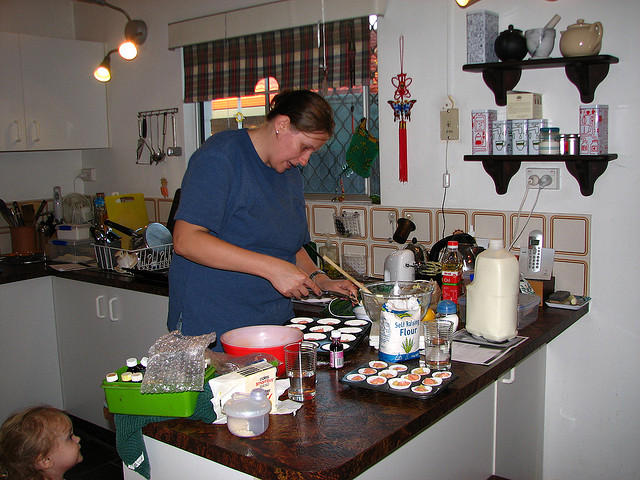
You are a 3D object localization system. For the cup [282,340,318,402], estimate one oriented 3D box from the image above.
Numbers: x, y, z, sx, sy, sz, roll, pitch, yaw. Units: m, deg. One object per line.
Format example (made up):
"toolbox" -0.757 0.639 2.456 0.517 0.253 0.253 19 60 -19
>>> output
"cup" -0.060 0.393 1.478 0.120 0.157 0.116 -5 -14 -1

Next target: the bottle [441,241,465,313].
"bottle" 0.574 0.190 2.163 0.115 0.345 0.108 -2 5 0

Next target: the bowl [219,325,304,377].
"bowl" -0.210 0.357 1.558 0.233 0.112 0.236 4 1 0

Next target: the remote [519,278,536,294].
"remote" 0.910 0.199 2.202 0.084 0.039 0.123 18 10 13

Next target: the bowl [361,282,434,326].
"bowl" 0.257 0.225 1.731 0.235 0.139 0.228 1 -8 0

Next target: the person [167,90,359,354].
"person" -0.222 -0.051 1.818 0.647 0.945 0.513 -2 5 -19

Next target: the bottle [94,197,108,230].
"bottle" -1.545 -0.184 3.526 0.078 0.219 0.177 -3 5 -25

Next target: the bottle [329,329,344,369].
"bottle" 0.054 0.355 1.643 0.048 0.120 0.075 0 5 2

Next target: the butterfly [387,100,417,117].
"butterfly" 0.462 -0.729 2.784 0.101 0.074 0.018 2 4 31

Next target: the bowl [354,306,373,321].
"bowl" 0.170 0.278 1.935 0.056 0.023 0.057 -1 9 0

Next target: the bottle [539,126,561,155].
"bottle" 1.055 -0.452 2.305 0.110 0.135 0.115 0 7 11

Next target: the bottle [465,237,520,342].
"bottle" 0.641 0.184 1.847 0.189 0.373 0.139 1 5 13

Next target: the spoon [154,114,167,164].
"spoon" -1.216 -0.758 3.789 0.111 0.346 0.038 3 6 38

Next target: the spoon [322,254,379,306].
"spoon" 0.133 0.180 2.285 0.310 0.061 0.035 44 25 13

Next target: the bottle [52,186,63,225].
"bottle" -1.963 -0.258 3.743 0.063 0.276 0.158 -3 5 -27

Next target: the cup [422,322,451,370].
"cup" 0.380 0.338 1.618 0.094 0.152 0.095 -2 3 0
